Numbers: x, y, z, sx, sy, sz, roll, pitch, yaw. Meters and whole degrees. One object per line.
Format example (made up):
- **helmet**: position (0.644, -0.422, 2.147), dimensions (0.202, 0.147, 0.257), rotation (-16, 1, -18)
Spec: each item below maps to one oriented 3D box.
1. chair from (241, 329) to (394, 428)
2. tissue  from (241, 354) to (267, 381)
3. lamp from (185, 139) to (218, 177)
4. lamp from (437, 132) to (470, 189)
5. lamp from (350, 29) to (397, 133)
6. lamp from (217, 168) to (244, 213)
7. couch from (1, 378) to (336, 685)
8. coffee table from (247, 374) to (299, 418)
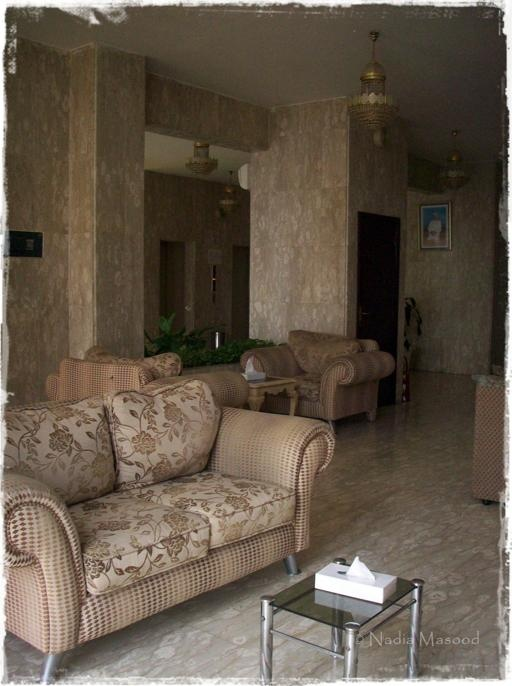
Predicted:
- **chair**: position (0.620, 0.332, 6.087), dimensions (1.186, 0.862, 0.864), rotation (5, 8, 34)
- **tissue **: position (-0.036, 0.226, 5.459), dimensions (0.196, 0.242, 0.219), rotation (1, 8, 41)
- **lamp**: position (-0.668, -2.230, 7.556), dimensions (0.482, 0.489, 0.441), rotation (-1, 1, -6)
- **lamp**: position (2.500, -2.322, 7.616), dimensions (0.339, 0.673, 0.331), rotation (-3, 11, -12)
- **lamp**: position (0.956, -2.100, 4.889), dimensions (0.394, 0.830, 0.399), rotation (7, 14, 34)
- **lamp**: position (-0.468, -2.650, 10.847), dimensions (0.388, 0.735, 1.267), rotation (3, 9, -2)
- **couch**: position (-0.401, 0.556, 2.235), dimensions (0.675, 0.637, 1.421), rotation (10, 11, 37)
- **coffee table**: position (0.120, 0.417, 5.321), dimensions (0.379, 0.385, 0.517), rotation (0, 2, 40)
